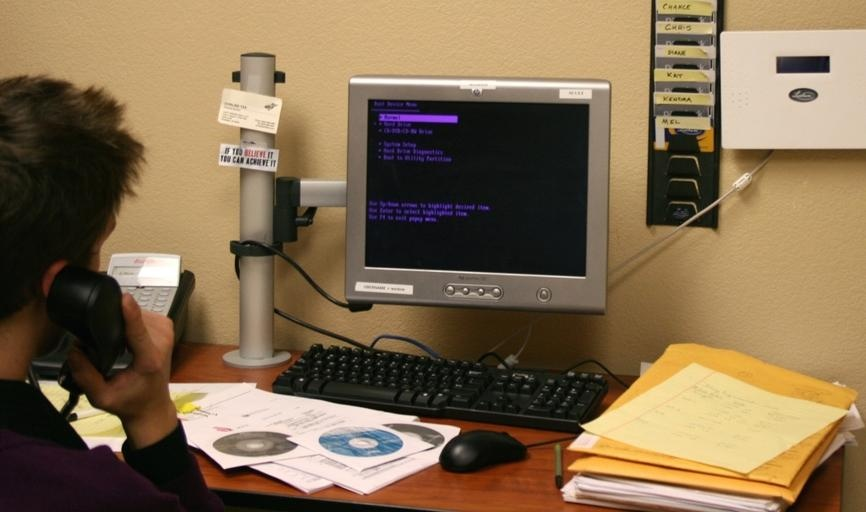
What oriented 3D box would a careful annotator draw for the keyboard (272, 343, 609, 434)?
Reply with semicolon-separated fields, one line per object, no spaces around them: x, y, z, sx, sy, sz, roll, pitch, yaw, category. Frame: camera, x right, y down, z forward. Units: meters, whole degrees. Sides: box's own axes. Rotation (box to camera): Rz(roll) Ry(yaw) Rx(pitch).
-0.003;0.261;1.419;0.652;0.051;0.232;4;16;21;keyboard

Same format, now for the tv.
0.092;-0.133;1.453;0.673;0.463;0.113;0;4;22;tv

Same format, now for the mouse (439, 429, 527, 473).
0.084;0.326;1.194;0.135;0.038;0.067;-2;8;-30;mouse
